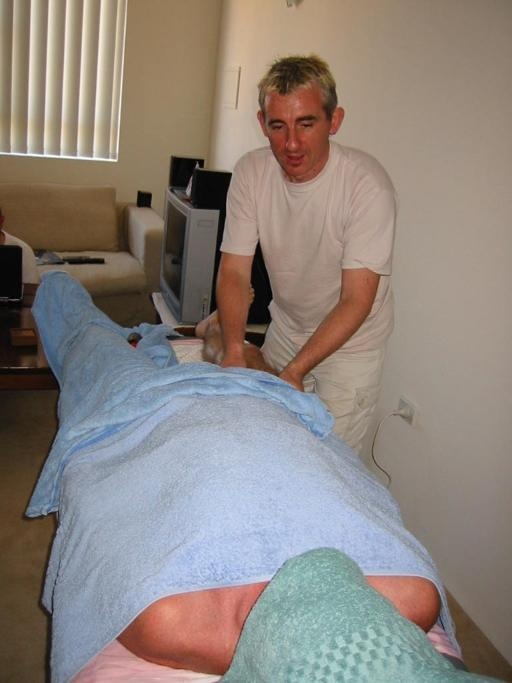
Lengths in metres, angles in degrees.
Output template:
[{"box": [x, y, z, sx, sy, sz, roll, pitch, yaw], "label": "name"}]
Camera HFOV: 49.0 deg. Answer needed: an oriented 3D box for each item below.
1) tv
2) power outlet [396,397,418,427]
[{"box": [-0.221, -0.440, 2.962, 0.471, 0.583, 0.636, -2, 21, -23], "label": "tv"}, {"box": [0.501, 0.232, 1.845, 0.044, 0.083, 0.084, -12, 21, -11], "label": "power outlet"}]
